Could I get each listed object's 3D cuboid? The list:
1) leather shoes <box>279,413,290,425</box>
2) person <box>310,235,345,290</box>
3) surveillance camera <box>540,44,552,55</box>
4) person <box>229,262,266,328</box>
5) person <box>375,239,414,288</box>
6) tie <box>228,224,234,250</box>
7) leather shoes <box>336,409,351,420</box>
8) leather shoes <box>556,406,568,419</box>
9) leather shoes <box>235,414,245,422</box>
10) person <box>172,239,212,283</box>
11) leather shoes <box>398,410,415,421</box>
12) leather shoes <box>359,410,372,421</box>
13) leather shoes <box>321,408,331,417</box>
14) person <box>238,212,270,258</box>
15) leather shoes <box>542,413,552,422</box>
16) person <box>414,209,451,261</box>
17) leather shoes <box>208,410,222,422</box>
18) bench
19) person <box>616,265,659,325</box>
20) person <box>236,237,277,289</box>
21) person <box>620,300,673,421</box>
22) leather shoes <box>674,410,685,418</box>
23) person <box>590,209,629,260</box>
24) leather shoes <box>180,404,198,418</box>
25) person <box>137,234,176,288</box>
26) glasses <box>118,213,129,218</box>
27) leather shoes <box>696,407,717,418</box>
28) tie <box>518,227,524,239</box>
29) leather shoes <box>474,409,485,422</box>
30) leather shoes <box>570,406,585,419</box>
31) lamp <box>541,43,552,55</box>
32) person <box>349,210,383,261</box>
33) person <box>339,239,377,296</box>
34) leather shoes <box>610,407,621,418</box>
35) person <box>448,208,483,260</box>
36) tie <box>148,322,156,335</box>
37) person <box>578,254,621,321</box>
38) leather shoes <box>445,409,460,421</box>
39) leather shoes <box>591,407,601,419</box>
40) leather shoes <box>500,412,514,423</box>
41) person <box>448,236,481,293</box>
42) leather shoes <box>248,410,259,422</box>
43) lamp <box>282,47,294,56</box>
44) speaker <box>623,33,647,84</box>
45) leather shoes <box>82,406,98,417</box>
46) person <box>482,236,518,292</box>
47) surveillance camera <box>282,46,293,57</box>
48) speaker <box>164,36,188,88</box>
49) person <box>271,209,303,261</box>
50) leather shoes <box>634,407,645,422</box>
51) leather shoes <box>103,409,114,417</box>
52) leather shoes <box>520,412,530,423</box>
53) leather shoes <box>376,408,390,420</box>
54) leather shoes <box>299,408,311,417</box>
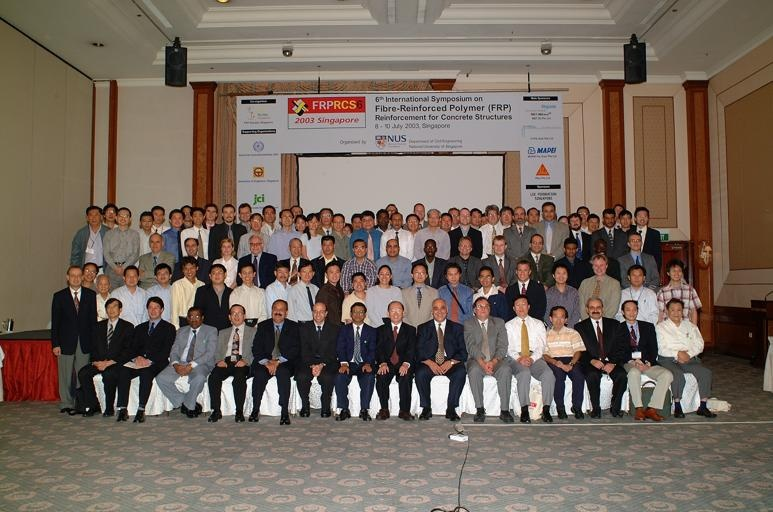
[{"bbox_3d":[-1.289,2.044,7.673,0.144,0.124,0.258,-1,6,-11],"label":"leather shoes"},{"bbox_3d":[-0.923,0.112,9.251,0.736,1.037,0.348,1,-2,-3],"label":"person"},{"bbox_3d":[3.047,-3.917,11.549,0.149,0.156,0.155,4,9,34],"label":"surveillance camera"},{"bbox_3d":[-1.971,0.554,8.666,0.529,0.955,0.489,2,-9,-29],"label":"person"},{"bbox_3d":[0.103,0.114,9.324,0.546,0.809,0.464,1,9,7],"label":"person"},{"bbox_3d":[-2.566,-0.321,9.981,0.075,0.326,0.273,-15,20,-18],"label":"tie"},{"bbox_3d":[-0.571,2.037,7.900,0.167,0.141,0.262,0,6,6],"label":"leather shoes"},{"bbox_3d":[2.274,2.025,7.882,0.098,0.174,0.169,-2,-12,-2],"label":"leather shoes"},{"bbox_3d":[-1.886,2.060,7.796,0.120,0.124,0.076,-2,-2,-6],"label":"leather shoes"},{"bbox_3d":[-2.976,0.081,9.154,0.594,0.849,0.242,1,-5,-23],"label":"person"},{"bbox_3d":[0.256,2.060,7.889,0.088,0.076,0.172,4,-10,-31],"label":"leather shoes"},{"bbox_3d":[-0.277,2.043,7.903,0.154,0.123,0.190,-1,6,-7],"label":"leather shoes"},{"bbox_3d":[-0.795,2.025,7.920,0.085,0.077,0.171,0,-13,-1],"label":"leather shoes"},{"bbox_3d":[-2.129,-0.321,9.728,0.658,0.915,0.313,2,-3,-14],"label":"person"},{"bbox_3d":[2.052,2.051,7.748,0.058,0.059,0.144,4,6,8],"label":"leather shoes"},{"bbox_3d":[0.744,-0.116,9.848,0.561,1.267,0.399,1,5,-2],"label":"person"},{"bbox_3d":[-2.222,2.029,7.837,0.163,0.139,0.319,-1,6,-9],"label":"leather shoes"},{"bbox_3d":[0.274,1.778,7.957,5.193,0.665,0.520,-1,-5,-1],"label":"bench"},{"bbox_3d":[3.599,0.613,8.721,0.588,1.003,0.525,1,-1,20],"label":"person"},{"bbox_3d":[-1.983,0.108,9.306,0.567,0.856,0.460,-5,0,-5],"label":"person"},{"bbox_3d":[3.446,1.337,7.993,0.606,1.409,0.781,1,5,16],"label":"person"},{"bbox_3d":[3.802,2.021,7.858,0.154,0.090,0.121,0,5,-1],"label":"leather shoes"},{"bbox_3d":[3.647,-0.141,9.893,0.601,1.284,0.382,2,-14,3],"label":"person"},{"bbox_3d":[-2.643,2.012,8.023,0.351,0.147,0.123,5,7,43],"label":"leather shoes"},{"bbox_3d":[-3.586,0.274,9.400,0.534,1.243,0.411,0,7,-18],"label":"person"},{"bbox_3d":[-4.071,-0.633,9.407,0.130,0.059,0.039,-3,6,-25],"label":"glasses"},{"bbox_3d":[4.133,2.013,7.825,0.080,0.092,0.203,2,-6,-20],"label":"leather shoes"},{"bbox_3d":[2.157,-0.373,9.735,0.082,0.218,0.033,-13,-50,21],"label":"tie"},{"bbox_3d":[1.196,2.020,7.825,0.137,0.140,0.286,0,6,8],"label":"leather shoes"},{"bbox_3d":[2.483,2.011,7.915,0.187,0.134,0.153,3,6,34],"label":"leather shoes"},{"bbox_3d":[3.039,-3.928,11.560,0.149,0.157,0.154,-1,6,0],"label":"lamp"},{"bbox_3d":[-0.328,-0.307,9.789,0.694,1.042,0.374,0,-14,-2],"label":"person"},{"bbox_3d":[-0.413,0.216,9.168,0.585,0.702,0.934,-7,11,0],"label":"person"},{"bbox_3d":[2.979,2.019,7.898,0.111,0.111,0.104,6,-10,-38],"label":"leather shoes"},{"bbox_3d":[1.289,-0.196,9.931,0.557,1.206,0.328,-1,-23,7],"label":"person"},{"bbox_3d":[-3.233,0.990,8.334,0.104,0.156,0.041,-2,-15,1],"label":"tie"},{"bbox_3d":[3.315,0.433,9.317,0.576,1.444,0.462,-4,-10,22],"label":"person"},{"bbox_3d":[0.849,2.050,7.848,0.212,0.162,0.081,-2,-2,22],"label":"leather shoes"},{"bbox_3d":[2.712,2.025,7.880,0.097,0.042,0.140,-8,39,28],"label":"leather shoes"},{"bbox_3d":[1.550,2.044,7.818,0.165,0.112,0.247,1,6,10],"label":"leather shoes"},{"bbox_3d":[1.211,0.174,9.350,0.564,0.910,0.524,0,9,-5],"label":"person"},{"bbox_3d":[-1.713,2.042,7.800,0.137,0.117,0.197,-2,6,-14],"label":"leather shoes"},{"bbox_3d":[-1.891,-3.875,11.560,0.201,0.143,0.256,-1,6,-11],"label":"lamp"},{"bbox_3d":[4.358,-3.459,10.655,0.338,0.840,0.310,3,5,32],"label":"speaker"},{"bbox_3d":[-3.897,2.022,7.973,0.200,0.118,0.141,-3,6,-29],"label":"leather shoes"},{"bbox_3d":[1.768,0.129,9.315,0.545,0.931,0.497,2,-10,-6],"label":"person"},{"bbox_3d":[-1.877,-3.861,11.519,0.164,0.172,0.063,-2,38,-3],"label":"surveillance camera"},{"bbox_3d":[-3.722,-3.417,10.738,0.340,0.856,0.587,-1,5,-15],"label":"speaker"},{"bbox_3d":[-1.590,-0.318,9.663,0.702,0.974,0.330,2,-11,-15],"label":"person"},{"bbox_3d":[3.258,1.999,7.793,0.126,0.134,0.201,2,6,23],"label":"leather shoes"},{"bbox_3d":[-3.667,2.055,7.986,0.126,0.136,0.083,1,-8,-6],"label":"leather shoes"},{"bbox_3d":[1.772,2.051,7.769,0.131,0.140,0.083,-7,-39,19],"label":"leather shoes"},{"bbox_3d":[-0.047,2.043,7.917,0.095,0.105,0.153,0,8,-31],"label":"leather shoes"},{"bbox_3d":[-1.077,2.038,7.984,0.135,0.111,0.115,-2,5,-18],"label":"leather shoes"}]
